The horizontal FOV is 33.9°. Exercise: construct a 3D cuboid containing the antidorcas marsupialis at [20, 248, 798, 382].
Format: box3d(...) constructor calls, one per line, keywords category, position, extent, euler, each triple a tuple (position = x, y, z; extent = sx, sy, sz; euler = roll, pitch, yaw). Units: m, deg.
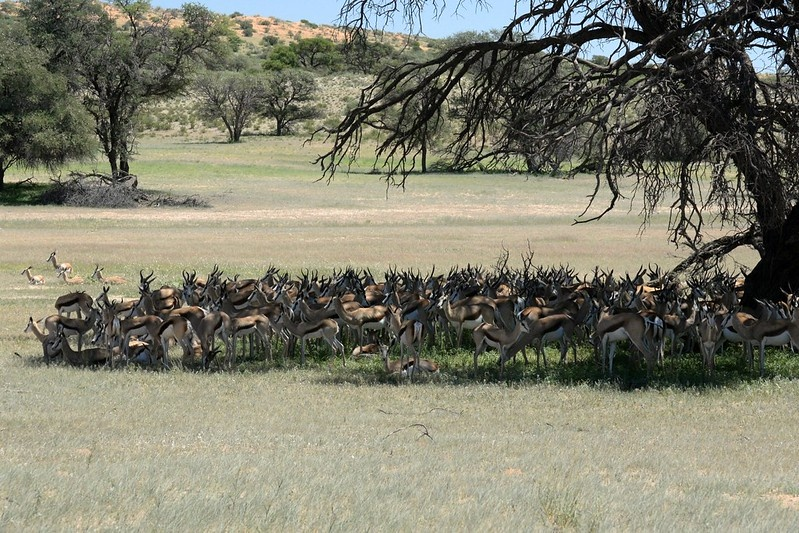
box3d(category="antidorcas marsupialis", position=(3.204, 1.824, 44.070), extent=(20.145, 3.178, 5.904), euler=(0, 4, 6))
